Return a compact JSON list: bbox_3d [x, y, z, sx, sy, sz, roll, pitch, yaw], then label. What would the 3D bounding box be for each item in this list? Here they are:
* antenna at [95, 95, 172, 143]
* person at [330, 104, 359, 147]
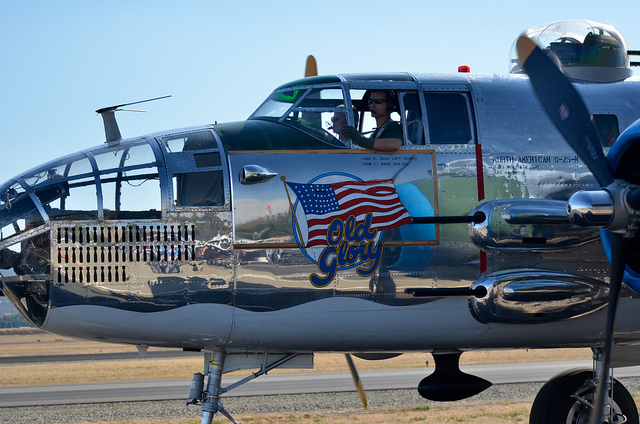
[{"bbox_3d":[-4.042,-1.973,25.481,2.191,0.726,0.960,-9,3,25],"label":"antenna"},{"bbox_3d":[0.668,-1.822,24.991,0.361,0.828,0.675,-4,-2,-32],"label":"person"}]
